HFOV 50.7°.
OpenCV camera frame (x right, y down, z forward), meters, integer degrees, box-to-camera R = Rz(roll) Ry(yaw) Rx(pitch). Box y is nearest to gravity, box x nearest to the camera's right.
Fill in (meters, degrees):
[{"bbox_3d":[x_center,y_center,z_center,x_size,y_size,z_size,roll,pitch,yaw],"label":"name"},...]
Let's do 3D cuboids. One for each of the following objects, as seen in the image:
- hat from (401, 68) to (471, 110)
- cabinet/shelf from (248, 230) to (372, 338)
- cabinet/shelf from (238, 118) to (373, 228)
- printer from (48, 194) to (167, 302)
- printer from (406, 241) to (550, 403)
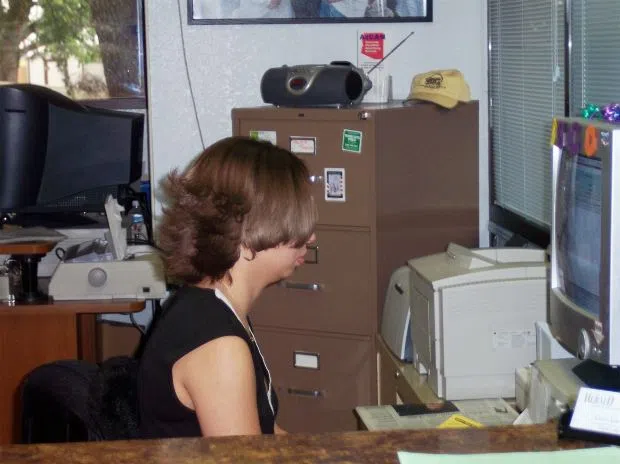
[{"bbox_3d":[0.559,-0.616,2.779,0.169,0.105,0.247,7,20,29],"label":"hat"},{"bbox_3d":[0.057,0.174,2.727,0.580,0.373,0.444,0,4,19],"label":"cabinet/shelf"},{"bbox_3d":[0.012,-0.244,2.728,0.570,0.618,0.342,2,4,20],"label":"cabinet/shelf"},{"bbox_3d":[-0.805,0.102,2.660,0.395,0.349,0.468,1,1,-7],"label":"printer"},{"bbox_3d":[0.496,0.236,2.097,0.361,0.435,0.401,-4,10,-11],"label":"printer"}]
